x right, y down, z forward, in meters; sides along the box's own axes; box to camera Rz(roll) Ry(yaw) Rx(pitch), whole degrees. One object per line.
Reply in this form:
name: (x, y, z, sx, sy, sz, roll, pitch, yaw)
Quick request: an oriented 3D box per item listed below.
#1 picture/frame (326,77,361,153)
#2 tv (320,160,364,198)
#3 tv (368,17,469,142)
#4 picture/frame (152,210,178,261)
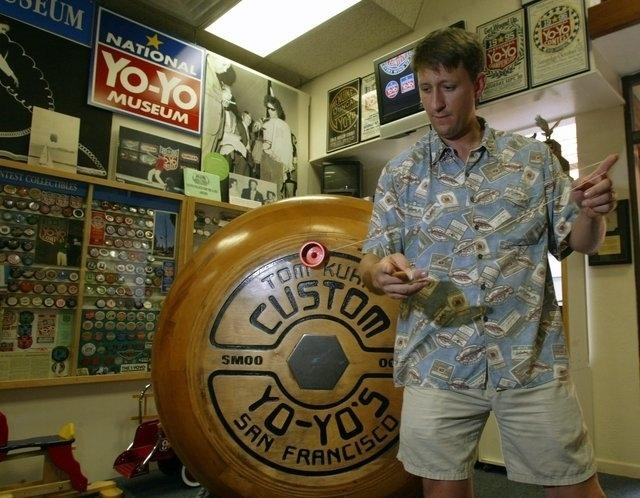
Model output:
picture/frame: (0.280, -1.519, 5.288, 0.073, 0.772, 0.489, 5, -9, -44)
tv: (0.224, -0.865, 5.536, 0.504, 0.458, 0.367, -5, 23, -10)
tv: (0.830, -1.597, 4.526, 0.827, 0.768, 0.075, -30, 35, -29)
picture/frame: (-1.370, -0.127, 4.088, 0.195, 0.407, 0.041, 2, -7, -25)
